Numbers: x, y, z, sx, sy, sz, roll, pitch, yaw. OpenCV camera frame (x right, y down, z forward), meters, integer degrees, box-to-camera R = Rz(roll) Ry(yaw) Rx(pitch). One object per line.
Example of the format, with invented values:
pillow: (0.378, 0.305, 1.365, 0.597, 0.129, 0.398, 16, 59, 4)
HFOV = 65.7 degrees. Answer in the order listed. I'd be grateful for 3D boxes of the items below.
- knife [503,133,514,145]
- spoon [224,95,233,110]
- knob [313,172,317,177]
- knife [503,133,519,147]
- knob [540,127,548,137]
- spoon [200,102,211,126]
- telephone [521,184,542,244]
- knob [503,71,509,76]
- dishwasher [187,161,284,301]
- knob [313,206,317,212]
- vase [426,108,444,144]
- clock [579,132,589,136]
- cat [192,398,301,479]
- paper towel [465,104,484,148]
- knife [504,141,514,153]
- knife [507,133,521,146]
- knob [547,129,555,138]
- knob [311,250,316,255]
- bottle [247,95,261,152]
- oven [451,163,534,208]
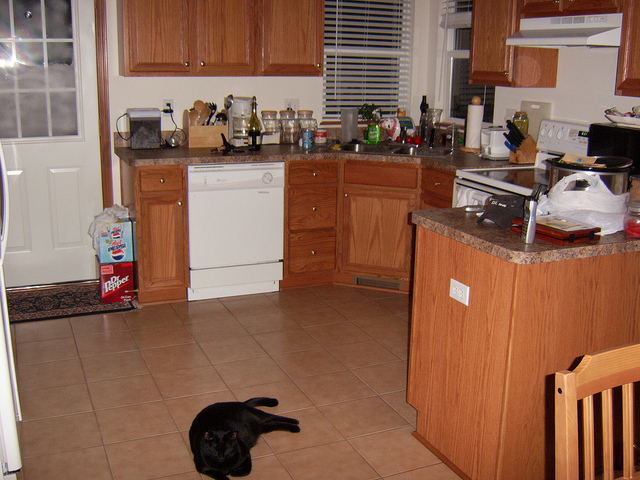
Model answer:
knife: (1.437, -0.754, 3.762, 0.021, 0.131, 0.028, -40, 6, -21)
spoon: (-0.798, -1.211, 4.360, 0.046, 0.116, 0.235, -7, 17, -17)
knob: (-0.040, -0.553, 4.122, 0.021, 0.023, 0.026, -5, -4, 23)
knife: (1.420, -0.759, 3.730, 0.044, 0.164, 0.044, -26, -11, -39)
knob: (1.641, -0.799, 3.647, 0.012, 0.052, 0.041, 11, 0, -41)
spoon: (-0.984, -1.090, 4.257, 0.048, 0.228, 0.033, 7, -2, 13)
telephone: (0.845, -0.111, 2.001, 0.048, 0.246, 0.061, 2, 14, 0)
knob: (1.348, -1.216, 3.612, 0.010, 0.031, 0.047, -15, 21, -38)
dishwasher: (-0.761, -0.155, 4.356, 0.767, 1.108, 0.775, -4, 14, -21)
knob: (-0.045, -0.269, 4.184, 0.035, 0.043, 0.014, 1, 3, -11)
vase: (1.039, -1.063, 4.585, 0.127, 0.310, 0.442, 3, 17, 16)
clock: (1.800, -0.728, 3.388, 0.063, 0.044, 0.015, 3, -2, 38)
cat: (-0.388, 0.923, 2.460, 0.350, 0.231, 0.534, 11, 20, 37)
paper towel: (1.277, -0.926, 4.110, 0.131, 0.339, 0.133, 12, 9, 2)
knife: (1.427, -0.711, 3.756, 0.039, 0.029, 0.096, 5, 29, -15)
knife: (1.452, -0.752, 3.709, 0.133, 0.035, 0.043, 53, 23, 20)
knob: (1.664, -0.773, 3.588, 0.012, 0.049, 0.039, -5, 23, -41)
knob: (-0.056, 0.102, 4.251, 0.029, 0.015, 0.043, -8, 20, -31)
bottle: (-0.565, -1.000, 4.239, 0.116, 0.436, 0.326, -3, 16, -6)
oven: (1.064, -0.338, 3.080, 0.239, 0.326, 0.339, -5, 16, -23)
